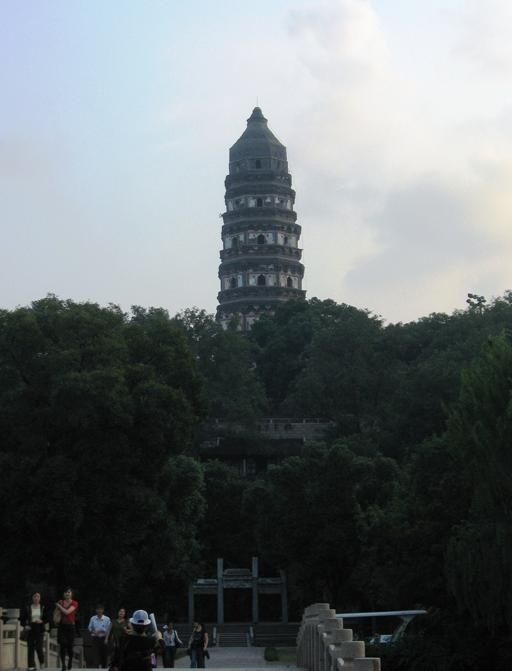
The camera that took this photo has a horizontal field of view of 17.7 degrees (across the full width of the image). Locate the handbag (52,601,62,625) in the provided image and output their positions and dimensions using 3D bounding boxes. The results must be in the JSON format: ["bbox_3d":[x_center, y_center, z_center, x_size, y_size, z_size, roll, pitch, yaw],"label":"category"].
[{"bbox_3d":[-4.014,5.558,32.896,0.158,0.409,0.622,2,-12,-9],"label":"handbag"}]

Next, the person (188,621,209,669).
[{"bbox_3d":[-1.381,7.153,38.149,0.398,1.035,0.945,1,-12,-5],"label":"person"}]
